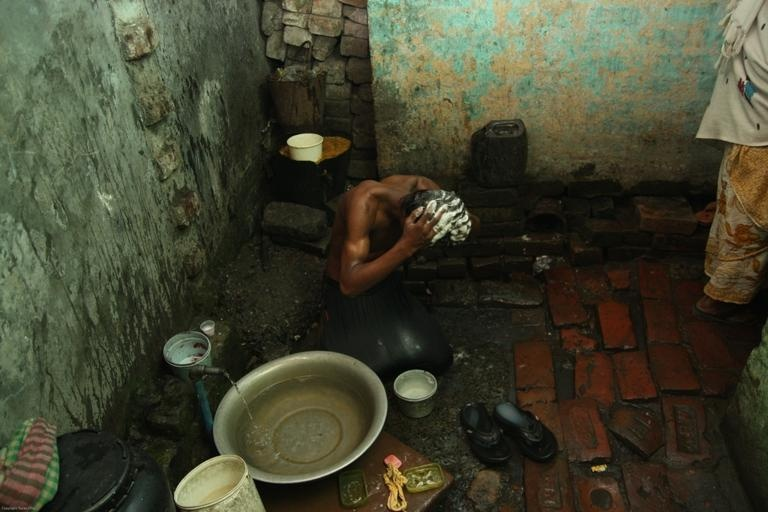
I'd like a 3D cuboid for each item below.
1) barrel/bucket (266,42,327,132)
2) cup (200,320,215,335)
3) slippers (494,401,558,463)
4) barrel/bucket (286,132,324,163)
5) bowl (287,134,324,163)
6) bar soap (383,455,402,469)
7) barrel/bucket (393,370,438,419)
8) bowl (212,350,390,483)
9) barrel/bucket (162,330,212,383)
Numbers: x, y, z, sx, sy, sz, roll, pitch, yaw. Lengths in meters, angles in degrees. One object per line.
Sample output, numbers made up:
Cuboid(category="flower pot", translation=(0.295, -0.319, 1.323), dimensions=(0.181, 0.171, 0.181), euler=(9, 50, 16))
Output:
Cuboid(category="barrel/bucket", translation=(-0.691, -1.676, 5.807), dimensions=(0.760, 0.916, 0.744), euler=(-1, 40, 1))
Cuboid(category="cup", translation=(-1.205, 0.482, 3.864), dimensions=(0.077, 0.070, 0.095), euler=(23, 48, 23))
Cuboid(category="slippers", translation=(0.964, 1.184, 3.938), dimensions=(0.264, 0.158, 0.435), euler=(-33, 50, -27))
Cuboid(category="barrel/bucket", translation=(-0.759, -1.052, 5.492), dimensions=(0.335, 0.204, 0.324), euler=(-1, 38, 1))
Cuboid(category="bowl", translation=(-0.758, -1.047, 5.490), dimensions=(0.338, 0.201, 0.321), euler=(-1, 37, 1))
Cuboid(category="bar soap", translation=(0.051, 1.313, 3.665), dimensions=(0.094, 0.031, 0.108), euler=(-29, 43, -33))
Cuboid(category="barrel/bucket", translation=(0.211, 0.989, 4.190), dimensions=(0.333, 0.249, 0.331), euler=(-5, 36, 4))
Cuboid(category="bowl", translation=(-0.524, 1.082, 3.672), dimensions=(1.064, 0.469, 0.872), euler=(-14, 37, -16))
Cuboid(category="barrel/bucket", translation=(-1.282, 0.640, 3.656), dimensions=(0.324, 0.234, 0.291), euler=(-9, 45, -7))
